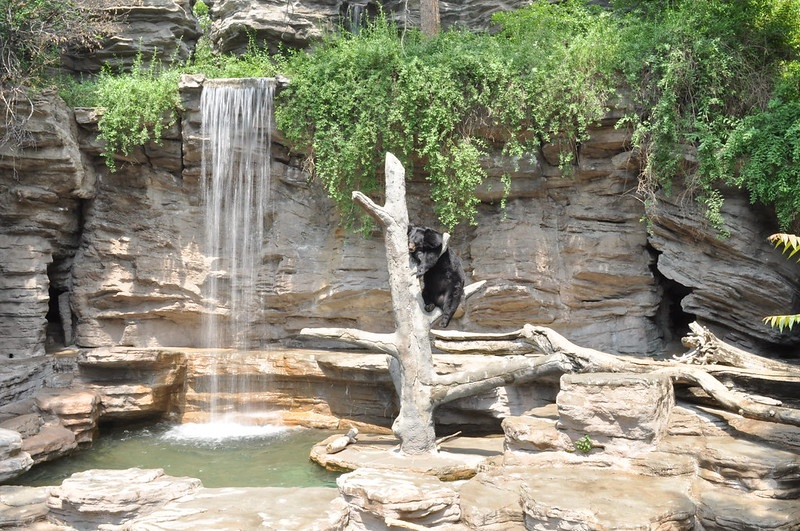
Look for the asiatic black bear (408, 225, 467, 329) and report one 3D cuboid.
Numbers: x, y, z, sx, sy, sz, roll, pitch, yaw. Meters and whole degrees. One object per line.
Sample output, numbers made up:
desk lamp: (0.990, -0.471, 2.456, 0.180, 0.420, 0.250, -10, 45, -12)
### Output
asiatic black bear: (0.650, 0.178, 13.620, 0.908, 1.836, 0.522, -4, 13, 4)
